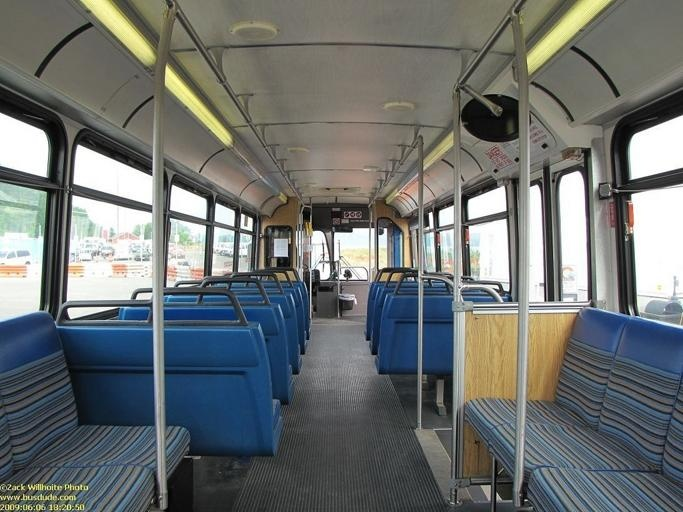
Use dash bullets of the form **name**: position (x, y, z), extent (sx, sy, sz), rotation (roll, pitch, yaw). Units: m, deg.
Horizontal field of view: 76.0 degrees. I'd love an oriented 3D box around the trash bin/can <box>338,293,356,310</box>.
- **trash bin/can**: position (0.132, 1.314, 12.470), extent (0.383, 0.356, 0.408), rotation (0, -1, 16)
